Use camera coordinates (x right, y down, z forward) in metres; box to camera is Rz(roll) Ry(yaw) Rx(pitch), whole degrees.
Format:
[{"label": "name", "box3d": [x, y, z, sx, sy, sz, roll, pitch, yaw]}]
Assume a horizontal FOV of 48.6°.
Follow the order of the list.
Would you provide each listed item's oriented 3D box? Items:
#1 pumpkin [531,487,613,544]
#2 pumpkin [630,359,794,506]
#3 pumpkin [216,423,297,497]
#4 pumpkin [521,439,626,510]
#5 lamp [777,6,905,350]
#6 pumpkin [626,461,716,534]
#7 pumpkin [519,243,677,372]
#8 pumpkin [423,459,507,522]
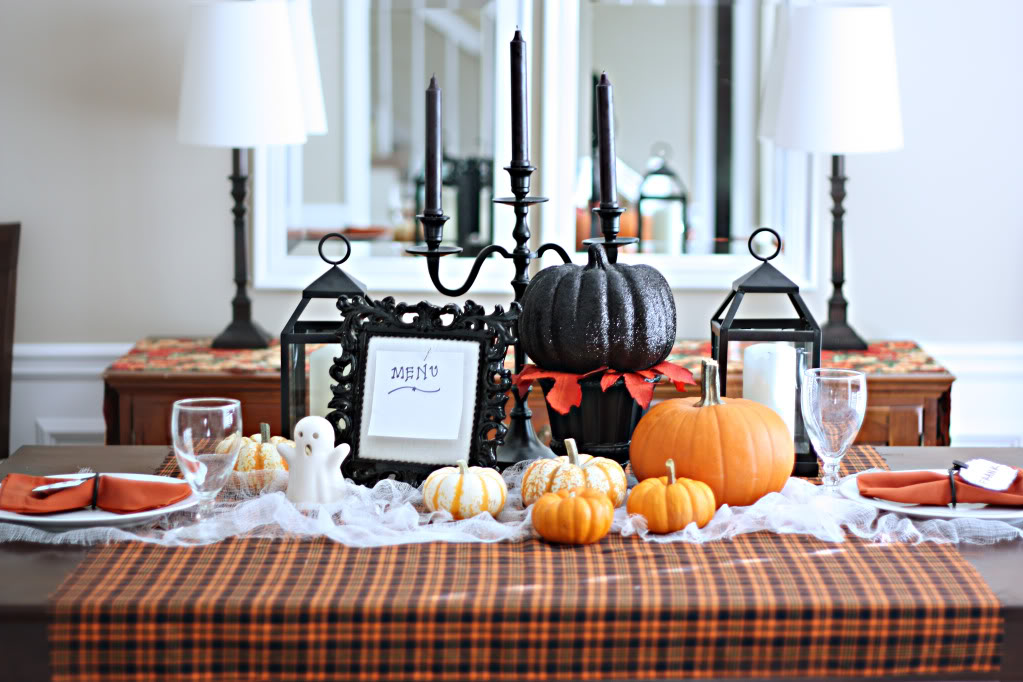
[{"label": "pumpkin", "box3d": [0.125, 0.318, 2.208, 0.109, 0.085, 0.112, 1, 3, 40]}, {"label": "pumpkin", "box3d": [0.409, 0.198, 2.445, 0.276, 0.295, 0.299, -1, 0, -4]}, {"label": "pumpkin", "box3d": [-0.524, 0.255, 2.359, 0.137, 0.144, 0.146, 3, 0, -3]}, {"label": "pumpkin", "box3d": [0.127, 0.268, 2.329, 0.142, 0.123, 0.155, 1, -4, 0]}, {"label": "lamp", "box3d": [1.001, -0.479, 3.531, 0.364, 1.089, 0.551, 0, 9, 14]}, {"label": "pumpkin", "box3d": [0.316, 0.316, 2.243, 0.140, 0.137, 0.142, -2, 2, -33]}, {"label": "pumpkin", "box3d": [0.184, -0.047, 2.432, 0.265, 0.249, 0.279, 0, 2, 33]}, {"label": "pumpkin", "box3d": [-0.085, 0.303, 2.265, 0.114, 0.104, 0.122, -6, 3, -18]}]
